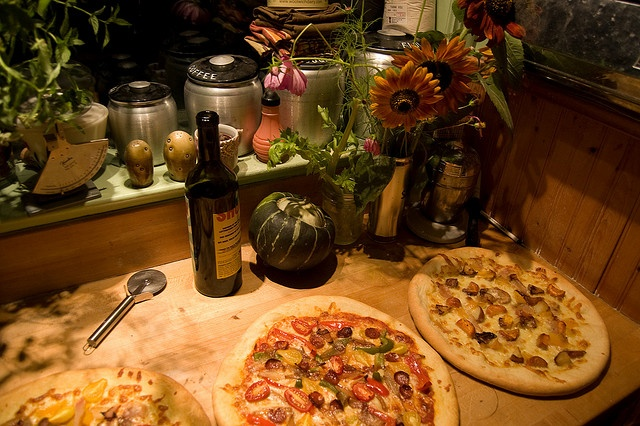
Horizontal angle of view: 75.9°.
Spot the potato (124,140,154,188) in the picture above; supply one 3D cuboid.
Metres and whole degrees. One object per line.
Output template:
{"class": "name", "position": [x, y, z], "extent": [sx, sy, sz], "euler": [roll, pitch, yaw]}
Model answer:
{"class": "potato", "position": [-0.541, -0.142, 1.218], "extent": [0.081, 0.145, 0.080], "euler": [-4, 33, -12]}

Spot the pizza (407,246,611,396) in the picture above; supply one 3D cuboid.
{"class": "pizza", "position": [0.552, 0.327, 1.213], "extent": [0.398, 0.079, 0.407], "euler": [15, 42, 21]}

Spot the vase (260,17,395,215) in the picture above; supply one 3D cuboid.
{"class": "vase", "position": [0.062, -0.228, 1.360], "extent": [0.402, 0.678, 0.477], "euler": [10, 25, 1]}

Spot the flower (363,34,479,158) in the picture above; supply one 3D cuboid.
{"class": "flower", "position": [0.279, -0.351, 1.127], "extent": [0.279, 0.237, 0.083], "euler": [4, 34, 5]}

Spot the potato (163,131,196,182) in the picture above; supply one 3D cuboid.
{"class": "potato", "position": [-0.439, -0.180, 1.286], "extent": [0.109, 0.169, 0.104], "euler": [-4, 53, -19]}

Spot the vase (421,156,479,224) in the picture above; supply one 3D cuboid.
{"class": "vase", "position": [0.452, -0.084, 1.451], "extent": [0.125, 0.194, 0.137], "euler": [36, 49, 24]}

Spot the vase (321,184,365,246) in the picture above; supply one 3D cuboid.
{"class": "vase", "position": [0.068, -0.012, 1.442], "extent": [0.155, 0.239, 0.146], "euler": [-2, 14, -8]}

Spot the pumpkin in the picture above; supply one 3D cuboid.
{"class": "pumpkin", "position": [-0.087, 0.063, 1.240], "extent": [0.235, 0.207, 0.238], "euler": [25, 20, 13]}

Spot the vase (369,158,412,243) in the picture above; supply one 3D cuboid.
{"class": "vase", "position": [0.229, -0.041, 1.370], "extent": [0.112, 0.289, 0.122], "euler": [1, 40, -3]}
